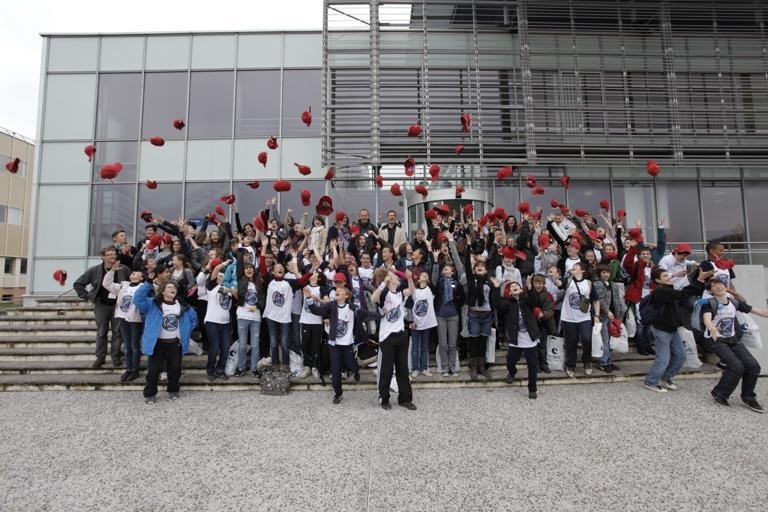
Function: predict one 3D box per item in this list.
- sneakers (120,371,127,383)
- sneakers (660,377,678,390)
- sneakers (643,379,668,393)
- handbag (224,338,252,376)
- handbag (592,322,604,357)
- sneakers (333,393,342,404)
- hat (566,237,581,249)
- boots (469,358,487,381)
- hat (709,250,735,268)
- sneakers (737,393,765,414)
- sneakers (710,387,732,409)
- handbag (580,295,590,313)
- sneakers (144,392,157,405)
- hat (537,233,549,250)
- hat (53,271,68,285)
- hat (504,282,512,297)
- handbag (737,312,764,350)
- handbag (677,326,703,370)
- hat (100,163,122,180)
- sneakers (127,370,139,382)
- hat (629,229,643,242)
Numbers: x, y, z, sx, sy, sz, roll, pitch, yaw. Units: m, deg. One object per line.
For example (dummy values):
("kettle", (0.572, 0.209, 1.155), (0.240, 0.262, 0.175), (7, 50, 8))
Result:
("sneakers", (-6.205, 2.887, 13.607), (0.155, 0.237, 0.111), (0, -3, -4))
("sneakers", (6.726, 3.034, 13.460), (0.163, 0.218, 0.471), (0, -9, 4))
("sneakers", (6.343, 3.050, 13.347), (0.522, 0.225, 0.200), (1, 2, 8))
("handbag", (-3.629, 2.450, 13.774), (0.329, 0.858, 0.294), (11, 4, -9))
("handbag", (5.083, 1.994, 13.621), (0.247, 0.874, 0.418), (-3, -4, 38))
("sneakers", (-1.066, 3.231, 13.019), (0.208, 0.219, 0.270), (-1, -3, 2))
("hat", (4.834, -0.340, 14.471), (0.345, 0.196, 0.234), (22, -6, -34))
("boots", (2.251, 2.729, 13.747), (0.415, 0.461, 0.473), (1, -4, -15))
("hat", (8.252, 0.137, 14.121), (0.550, 0.270, 0.660), (11, 6, 11))
("sneakers", (8.164, 3.249, 12.645), (0.218, 0.301, 0.681), (-12, 11, -9))
("sneakers", (7.555, 3.184, 12.782), (0.213, 0.225, 0.497), (-10, 20, -14))
("handbag", (4.781, 1.147, 13.608), (0.192, 0.377, 0.099), (-2, -3, 19))
("sneakers", (-5.353, 3.247, 13.045), (0.271, 0.236, 0.256), (1, -3, -24))
("hat", (3.994, -0.362, 14.303), (0.342, 0.475, 0.277), (-4, 11, 1))
("hat", (-10.188, 0.683, 17.922), (0.295, 0.511, 0.648), (-3, -25, -30))
("hat", (2.918, 0.782, 13.502), (0.167, 0.335, 0.484), (0, -3, -3))
("handbag", (8.295, 1.678, 12.999), (0.440, 0.767, 0.208), (-1, -3, 12))
("handbag", (7.349, 2.223, 13.722), (0.413, 1.063, 0.980), (-2, -3, 31))
("hat", (-7.321, -2.279, 15.229), (0.420, 0.502, 0.925), (1, -3, -22))
("sneakers", (-5.986, 2.866, 13.692), (0.128, 0.222, 0.305), (-3, -3, 35))
("hat", (6.685, -0.560, 15.176), (0.390, 0.413, 0.324), (7, 0, -2))
